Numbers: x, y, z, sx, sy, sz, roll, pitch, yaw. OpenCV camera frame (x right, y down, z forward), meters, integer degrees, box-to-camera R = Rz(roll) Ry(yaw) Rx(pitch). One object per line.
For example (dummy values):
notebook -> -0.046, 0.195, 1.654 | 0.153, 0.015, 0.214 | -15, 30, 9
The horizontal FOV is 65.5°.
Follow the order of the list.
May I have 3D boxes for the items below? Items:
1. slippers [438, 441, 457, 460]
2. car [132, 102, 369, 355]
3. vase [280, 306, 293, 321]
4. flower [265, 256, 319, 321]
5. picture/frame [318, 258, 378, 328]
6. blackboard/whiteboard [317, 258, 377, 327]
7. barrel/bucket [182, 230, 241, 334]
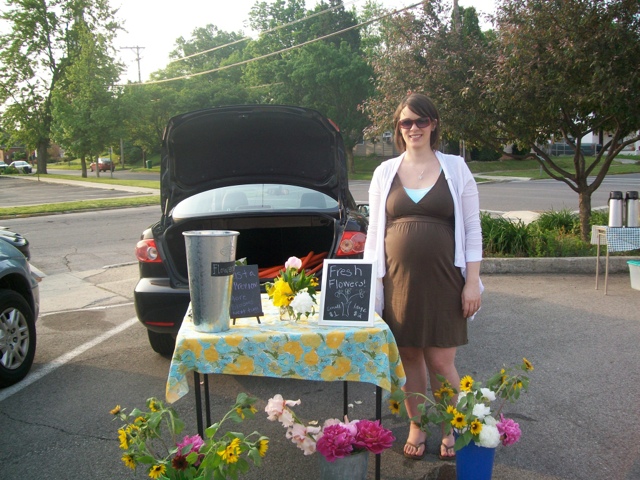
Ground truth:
slippers -> 0.874, 1.461, 3.429 | 0.116, 0.086, 0.312 | -1, -6, 5
car -> -0.291, 0.036, 6.267 | 2.214, 2.482, 4.161 | 0, 0, 16
vase -> -0.204, 0.449, 3.053 | 0.076, 0.085, 0.080 | -2, 4, 10
flower -> -0.128, 0.292, 3.115 | 0.267, 0.356, 0.324 | -4, 25, -3
picture/frame -> 0.171, 0.325, 2.984 | 0.355, 0.459, 0.030 | 2, -23, 3
blackboard/whiteboard -> 0.170, 0.322, 2.983 | 0.356, 0.461, 0.031 | 2, -25, 3
barrel/bucket -> -0.627, 0.244, 2.894 | 0.343, 0.575, 0.346 | 1, 4, 0
